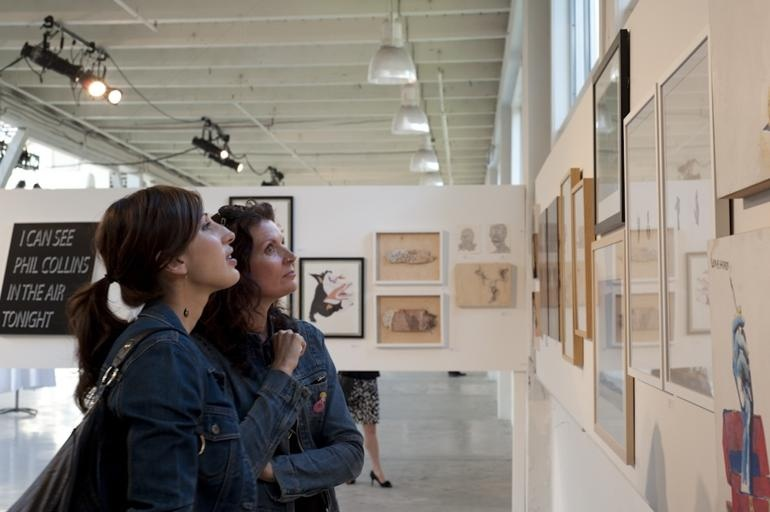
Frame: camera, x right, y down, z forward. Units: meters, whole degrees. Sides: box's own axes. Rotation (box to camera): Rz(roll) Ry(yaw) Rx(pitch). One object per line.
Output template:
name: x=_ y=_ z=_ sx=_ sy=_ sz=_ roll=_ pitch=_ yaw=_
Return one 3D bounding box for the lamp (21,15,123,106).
lamp: x=-4.254 y=-2.522 z=8.589 sx=1.045 sy=1.000 sz=1.593 roll=3 pitch=-3 yaw=-29

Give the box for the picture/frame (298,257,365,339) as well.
picture/frame: x=-0.504 y=0.372 z=5.891 sx=0.601 sy=0.842 sz=0.020 roll=0 pitch=26 yaw=-6

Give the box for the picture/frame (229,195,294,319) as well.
picture/frame: x=-1.076 y=-0.023 z=5.566 sx=0.555 sy=1.254 sz=0.032 roll=0 pitch=-35 yaw=-12

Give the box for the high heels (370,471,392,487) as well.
high heels: x=-0.043 y=2.287 z=6.573 sx=0.288 sy=0.151 sz=0.104 roll=5 pitch=-6 yaw=7

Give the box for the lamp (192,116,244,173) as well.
lamp: x=-3.395 y=-2.246 z=12.773 sx=0.793 sy=0.332 sz=0.865 roll=35 pitch=-31 yaw=22
